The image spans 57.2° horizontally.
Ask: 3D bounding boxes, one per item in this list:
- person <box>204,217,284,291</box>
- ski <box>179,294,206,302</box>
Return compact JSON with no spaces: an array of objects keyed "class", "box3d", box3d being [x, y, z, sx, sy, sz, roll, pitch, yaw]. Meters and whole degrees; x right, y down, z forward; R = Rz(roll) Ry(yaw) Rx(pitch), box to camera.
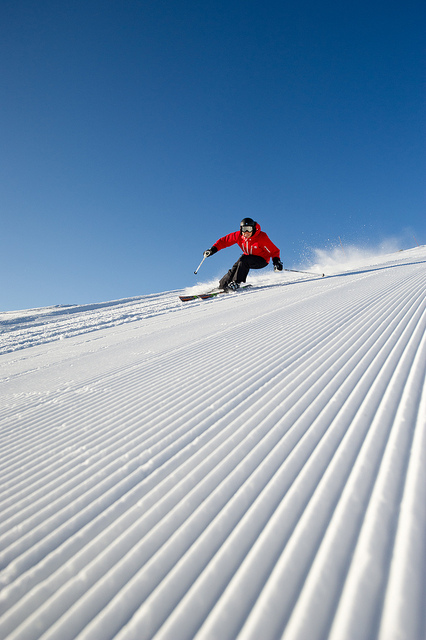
[{"class":"person","box3d":[0.680,-1.161,7.623,1.127,1.615,1.011,14,-9,30]},{"class":"ski","box3d":[-0.441,-0.411,7.335,0.383,0.081,0.121,-23,-4,3]}]
